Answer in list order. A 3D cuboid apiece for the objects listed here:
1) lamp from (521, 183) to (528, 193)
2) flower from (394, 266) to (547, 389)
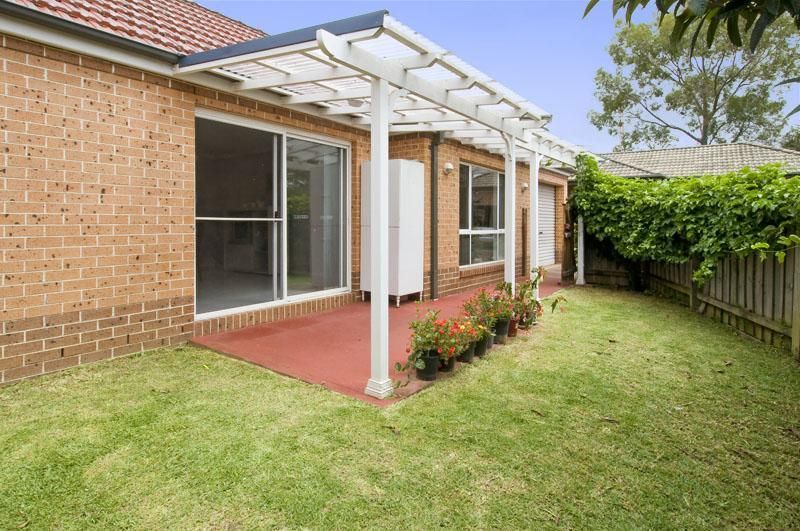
[{"bbox_3d":[3.317,-2.075,14.422,0.089,0.246,0.477,6,11,23],"label":"lamp"},{"bbox_3d":[1.033,0.826,7.953,0.870,1.086,3.712,0,2,34],"label":"flower"}]
